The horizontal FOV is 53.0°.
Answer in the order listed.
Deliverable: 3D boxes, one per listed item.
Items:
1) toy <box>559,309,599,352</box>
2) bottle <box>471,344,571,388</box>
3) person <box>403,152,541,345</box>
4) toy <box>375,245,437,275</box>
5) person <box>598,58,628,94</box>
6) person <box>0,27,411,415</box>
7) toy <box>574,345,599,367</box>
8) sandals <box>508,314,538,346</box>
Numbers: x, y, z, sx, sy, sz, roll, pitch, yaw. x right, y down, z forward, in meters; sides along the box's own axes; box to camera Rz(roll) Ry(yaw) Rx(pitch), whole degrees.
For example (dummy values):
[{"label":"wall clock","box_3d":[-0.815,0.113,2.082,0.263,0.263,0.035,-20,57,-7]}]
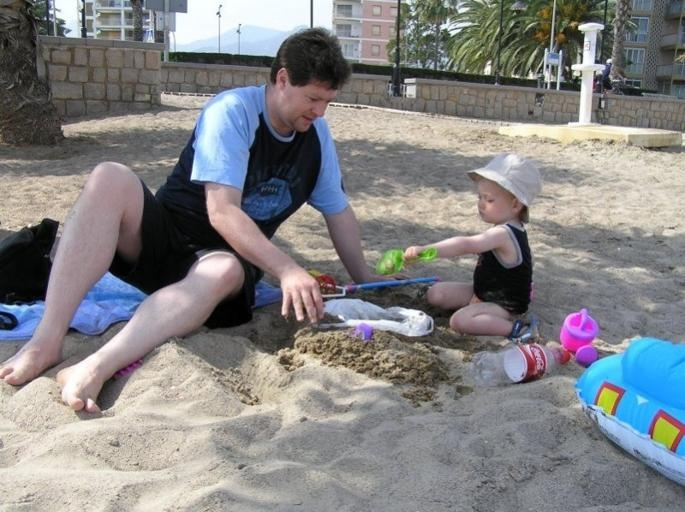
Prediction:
[{"label":"toy","box_3d":[1.243,0.394,3.647,0.177,0.233,0.153,7,16,20]},{"label":"bottle","box_3d":[0.886,0.505,3.422,0.508,0.167,0.382,4,16,8]},{"label":"person","box_3d":[0.668,-0.105,4.322,0.963,1.245,0.970,2,13,2]},{"label":"toy","box_3d":[0.360,0.021,3.925,0.315,0.147,0.097,-14,-20,23]},{"label":"person","box_3d":[7.791,-5.197,19.976,0.483,0.977,2.757,8,17,23]},{"label":"person","box_3d":[-0.671,-0.287,3.363,1.872,1.629,0.915,-6,17,-26]},{"label":"toy","box_3d":[1.265,0.505,3.584,0.117,0.105,0.187,7,16,20]},{"label":"sandals","box_3d":[1.014,0.419,3.861,0.090,0.113,0.257,-7,-8,27]}]
